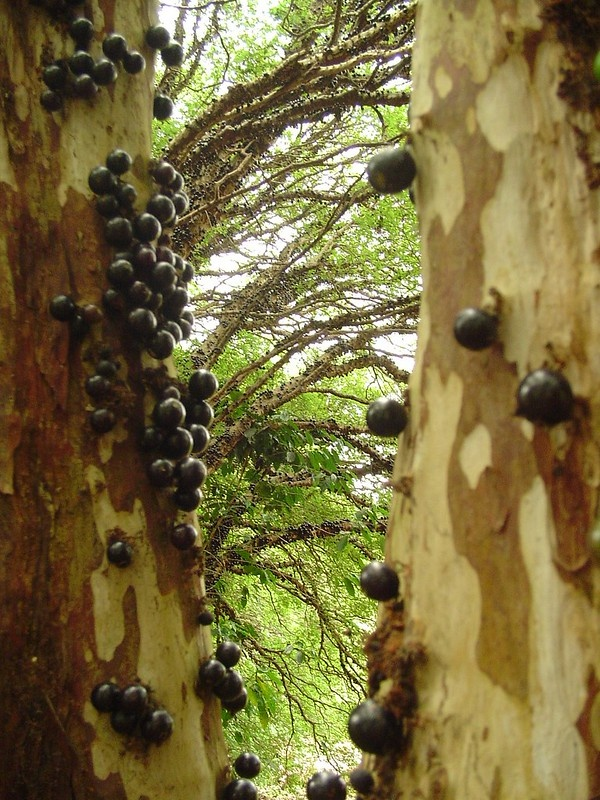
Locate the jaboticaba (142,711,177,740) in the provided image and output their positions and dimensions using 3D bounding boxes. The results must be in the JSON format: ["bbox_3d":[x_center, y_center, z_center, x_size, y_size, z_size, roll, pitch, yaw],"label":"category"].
[{"bbox_3d":[-0.385,0.894,3.222,0.079,0.076,0.045,-3,-11,-26],"label":"jaboticaba"}]

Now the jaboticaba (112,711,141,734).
[{"bbox_3d":[-0.471,0.883,3.256,0.071,0.071,0.068,-4,10,-34],"label":"jaboticaba"}]
